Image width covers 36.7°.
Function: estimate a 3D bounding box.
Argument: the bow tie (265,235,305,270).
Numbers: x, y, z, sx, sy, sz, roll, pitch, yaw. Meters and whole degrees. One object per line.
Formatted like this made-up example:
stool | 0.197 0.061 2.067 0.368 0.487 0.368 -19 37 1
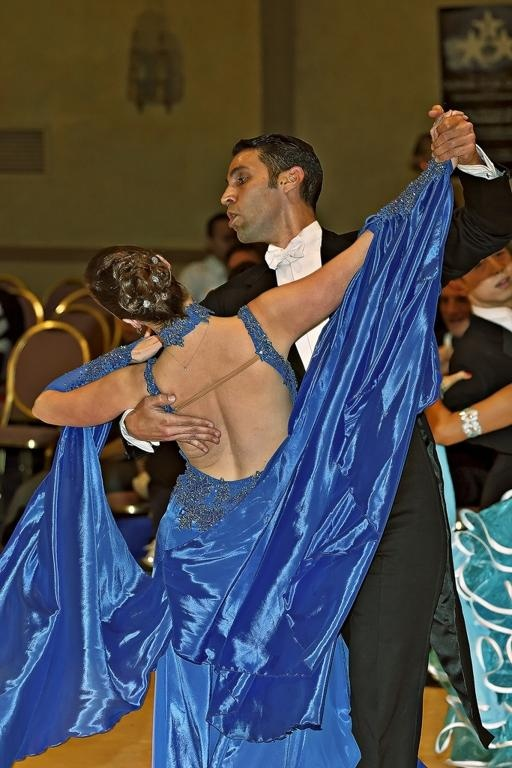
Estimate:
bow tie | 0.081 -0.287 1.751 0.122 0.059 0.045 -11 -23 38
